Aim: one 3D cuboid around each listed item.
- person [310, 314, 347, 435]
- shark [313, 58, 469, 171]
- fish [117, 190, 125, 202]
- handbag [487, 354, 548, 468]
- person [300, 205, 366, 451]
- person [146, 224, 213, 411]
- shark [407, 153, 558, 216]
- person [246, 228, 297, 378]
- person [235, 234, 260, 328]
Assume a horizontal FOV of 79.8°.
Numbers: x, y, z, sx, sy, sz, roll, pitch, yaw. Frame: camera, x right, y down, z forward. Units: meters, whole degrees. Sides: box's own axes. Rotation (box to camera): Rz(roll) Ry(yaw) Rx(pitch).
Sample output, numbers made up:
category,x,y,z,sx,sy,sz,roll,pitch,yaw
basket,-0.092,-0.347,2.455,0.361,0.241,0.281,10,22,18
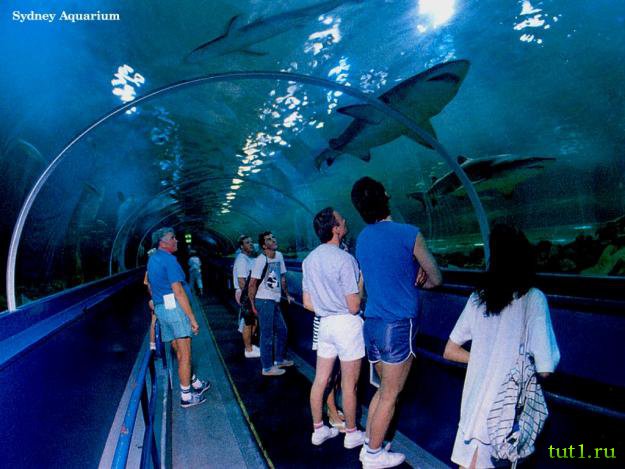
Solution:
category,x,y,z,sx,sy,sz,roll,pitch,yaw
person,0.250,1.887,4.978,0.499,1.593,0.492,20,-24,-18
shark,1.712,-2.587,8.673,1.974,1.193,4.193,-7,3,-21
fish,-6.104,-1.228,11.945,0.192,0.247,0.699,3,-5,-13
handbag,1.471,1.264,2.698,0.415,0.799,0.101,-6,4,-6
person,0.276,1.047,4.393,0.812,2.600,0.839,0,5,27
person,-2.021,1.241,5.720,1.013,2.568,0.912,0,0,-26
shark,4.284,-1.580,10.303,1.175,1.109,3.728,-44,18,-30
person,-0.866,1.230,6.692,0.765,2.262,0.946,0,1,-26
person,-1.153,0.965,7.459,0.628,2.047,0.853,0,1,-34
